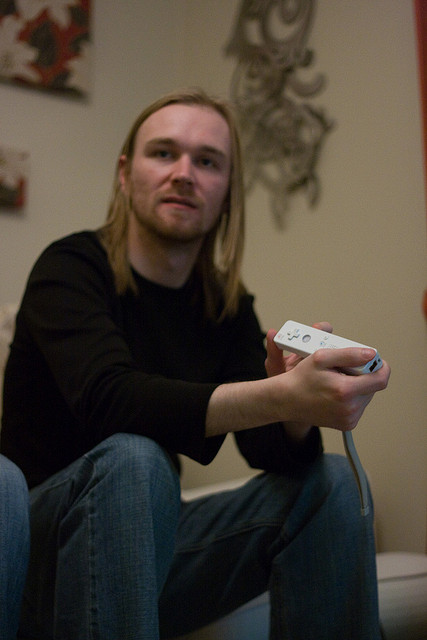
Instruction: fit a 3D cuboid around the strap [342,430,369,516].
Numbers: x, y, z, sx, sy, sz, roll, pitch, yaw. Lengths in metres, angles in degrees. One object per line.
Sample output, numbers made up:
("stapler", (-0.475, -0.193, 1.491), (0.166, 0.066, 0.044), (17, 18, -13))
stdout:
("strap", (0.210, 0.222, 0.852), (0.031, 0.153, 0.139), (-3, 3, 14))
